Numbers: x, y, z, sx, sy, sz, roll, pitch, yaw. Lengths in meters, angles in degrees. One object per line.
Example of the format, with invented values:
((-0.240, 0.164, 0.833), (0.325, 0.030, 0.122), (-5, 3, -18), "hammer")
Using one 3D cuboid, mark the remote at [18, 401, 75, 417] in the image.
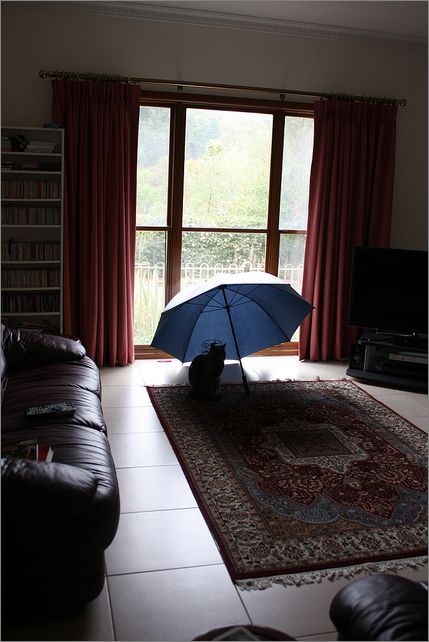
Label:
((-0.693, 0.376, 1.937), (0.123, 0.024, 0.072), (-7, 15, -24), "remote")
